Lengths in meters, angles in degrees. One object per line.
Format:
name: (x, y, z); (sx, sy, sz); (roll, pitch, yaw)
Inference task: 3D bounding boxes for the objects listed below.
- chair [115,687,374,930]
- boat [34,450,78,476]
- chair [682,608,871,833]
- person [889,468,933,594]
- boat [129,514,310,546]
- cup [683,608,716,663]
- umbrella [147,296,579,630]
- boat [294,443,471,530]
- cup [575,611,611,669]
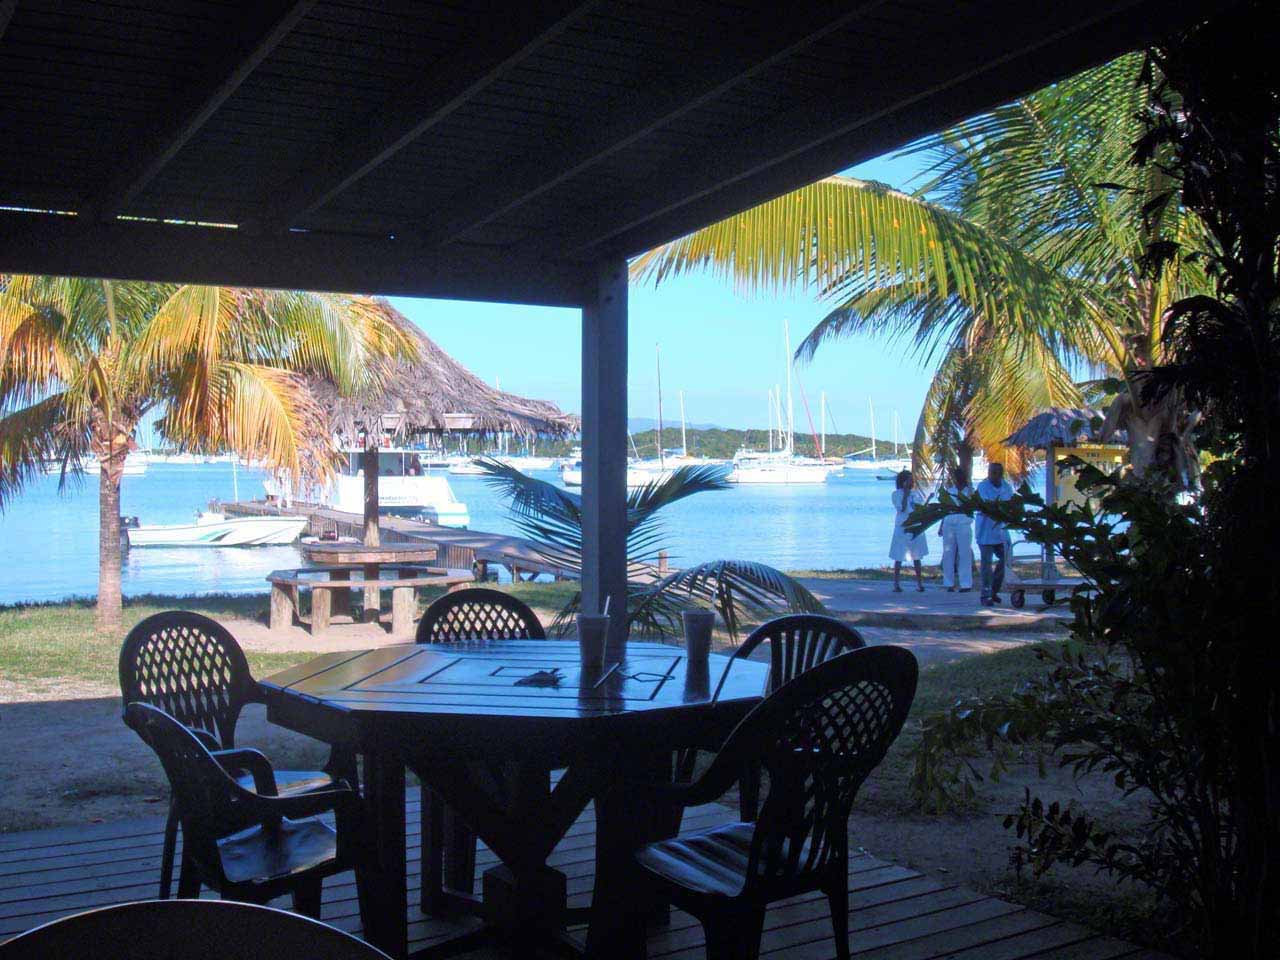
chair: (-1.120, 1.056, 3.307); (0.652, 0.880, 0.618); (0, 1, -39)
boat: (-6.117, -0.163, 12.014); (0.371, 0.263, 1.803); (0, 1, -28)
chair: (0.400, 0.868, 4.175); (0.673, 0.928, 0.663); (-6, -13, 41)
person: (3.132, 0.631, 13.137); (0.433, 1.337, 0.408); (5, 38, 9)
boat: (-8.911, 1.080, 24.429); (2.635, 0.588, 0.717); (-2, 1, 3)
cup: (0.215, 0.521, 3.780); (0.126, 0.205, 0.140); (-1, -2, 7)
umbrella: (-2.853, -0.849, 14.174); (3.420, 2.574, 5.014); (-2, 5, -18)
boat: (-4.863, 0.178, 21.438); (2.167, 1.034, 3.204); (0, 0, -18)
cup: (-0.176, 0.544, 3.870); (0.134, 0.220, 0.154); (0, -3, -6)
